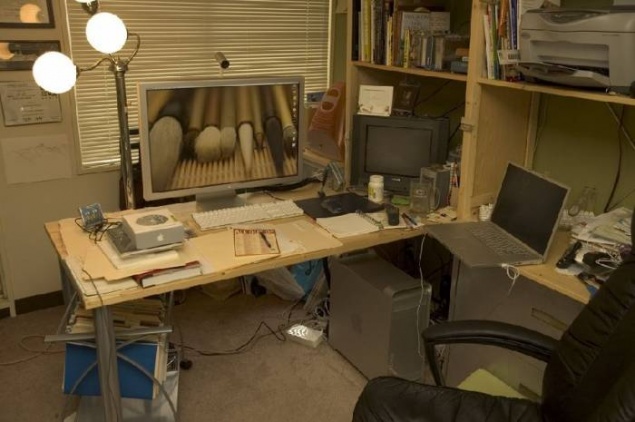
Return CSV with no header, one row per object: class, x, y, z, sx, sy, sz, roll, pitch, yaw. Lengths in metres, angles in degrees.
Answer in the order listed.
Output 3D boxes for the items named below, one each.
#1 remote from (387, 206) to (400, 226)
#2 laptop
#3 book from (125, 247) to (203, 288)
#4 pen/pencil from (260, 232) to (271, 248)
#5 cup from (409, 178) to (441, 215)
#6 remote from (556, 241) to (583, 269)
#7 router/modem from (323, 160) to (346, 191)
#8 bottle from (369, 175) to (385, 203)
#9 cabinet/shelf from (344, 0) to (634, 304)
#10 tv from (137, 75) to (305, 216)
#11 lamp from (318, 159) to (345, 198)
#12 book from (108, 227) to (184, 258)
remote,0.427,0.030,2.647,0.072,0.120,0.065,-6,24,-9
laptop,0.921,0.107,2.463,0.551,0.411,0.553,-9,26,-15
book,-0.689,0.298,2.169,0.304,0.065,0.071,-11,24,-18
pen/pencil,-0.274,0.151,2.442,0.029,0.019,0.129,-28,38,-6
cup,0.650,-0.107,2.901,0.225,0.237,0.146,10,26,16
remote,1.247,0.223,2.315,0.056,0.173,0.081,29,-6,-13
router/modem,0.116,-0.230,3.145,0.058,0.186,0.166,-12,-19,-19
bottle,0.380,-0.144,2.993,0.105,0.169,0.110,0,22,0
cabinet/shelf,0.965,-0.339,2.610,0.464,1.431,1.567,-15,27,-40
tv,-0.520,-0.387,2.738,0.948,0.766,0.254,-4,-7,0
lamp,0.077,-0.229,3.099,0.149,0.280,0.051,2,52,12
book,-0.904,0.151,2.399,0.333,0.064,0.316,22,25,38
